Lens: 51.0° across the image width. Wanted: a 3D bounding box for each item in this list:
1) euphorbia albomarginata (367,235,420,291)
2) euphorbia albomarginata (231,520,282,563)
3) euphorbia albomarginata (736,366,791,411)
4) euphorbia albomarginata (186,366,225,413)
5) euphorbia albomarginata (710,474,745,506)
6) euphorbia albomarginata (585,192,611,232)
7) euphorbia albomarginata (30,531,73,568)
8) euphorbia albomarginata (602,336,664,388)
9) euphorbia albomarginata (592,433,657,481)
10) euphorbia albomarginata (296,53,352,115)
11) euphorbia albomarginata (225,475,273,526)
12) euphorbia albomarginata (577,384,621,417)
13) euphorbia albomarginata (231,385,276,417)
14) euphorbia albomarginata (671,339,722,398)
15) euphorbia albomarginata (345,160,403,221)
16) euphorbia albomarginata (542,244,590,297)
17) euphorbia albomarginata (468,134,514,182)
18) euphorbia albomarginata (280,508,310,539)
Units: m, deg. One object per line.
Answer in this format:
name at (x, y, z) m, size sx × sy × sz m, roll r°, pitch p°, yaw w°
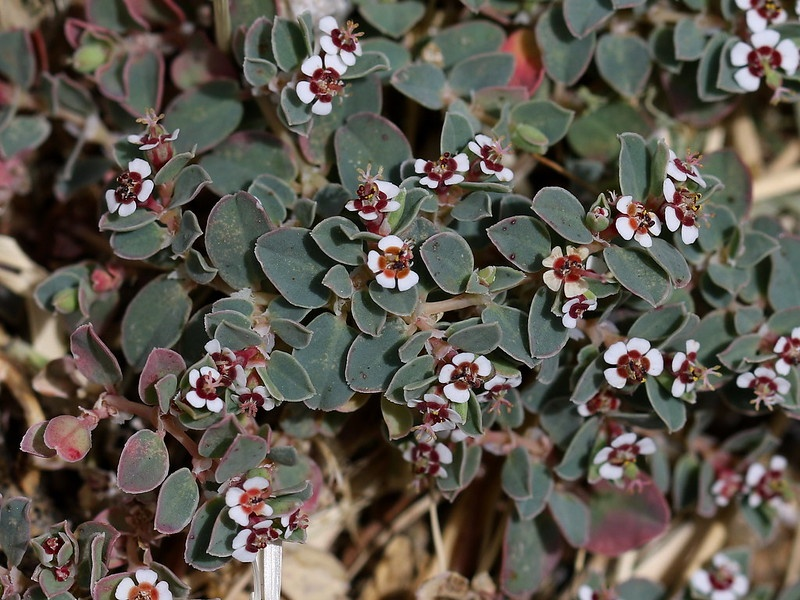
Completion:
euphorbia albomarginata at (-0.014, -0.059, 1.439) m, size 0.080 × 0.069 × 0.095 m, roll -9°, pitch 80°, yaw -2°
euphorbia albomarginata at (-0.249, 0.417, 1.453) m, size 0.069 × 0.032 × 0.082 m, roll 22°, pitch 114°, yaw -24°
euphorbia albomarginata at (0.692, 0.172, 1.599) m, size 0.085 × 0.048 × 0.092 m, roll 3°, pitch 110°, yaw 18°
euphorbia albomarginata at (-0.331, 0.152, 1.423) m, size 0.058 × 0.042 × 0.075 m, roll -2°, pitch 80°, yaw -1°
euphorbia albomarginata at (0.678, 0.391, 1.735) m, size 0.039 × 0.024 × 0.076 m, roll 16°, pitch 58°, yaw 35°
euphorbia albomarginata at (0.347, -0.147, 1.467) m, size 0.036 × 0.032 × 0.070 m, roll 5°, pitch 82°, yaw 18°
euphorbia albomarginata at (-0.624, 0.439, 1.503) m, size 0.051 × 0.044 × 0.069 m, roll -31°, pitch 61°, yaw -15°
euphorbia albomarginata at (0.424, 0.113, 1.528) m, size 0.121 × 0.066 × 0.081 m, roll -17°, pitch 81°, yaw -3°
euphorbia albomarginata at (0.429, 0.295, 1.597) m, size 0.093 × 0.038 × 0.103 m, roll -29°, pitch 102°, yaw 7°
euphorbia albomarginata at (-0.143, -0.395, 1.549) m, size 0.078 × 0.104 × 0.104 m, roll 35°, pitch 82°, yaw 6°
euphorbia albomarginata at (-0.260, 0.349, 1.435) m, size 0.076 × 0.031 × 0.087 m, roll -19°, pitch 92°, yaw -16°
euphorbia albomarginata at (0.384, 0.200, 1.606) m, size 0.057 × 0.024 × 0.061 m, roll -4°, pitch 104°, yaw 10°
euphorbia albomarginata at (-0.255, 0.174, 1.468) m, size 0.071 × 0.040 × 0.047 m, roll -12°, pitch 80°, yaw -3°
euphorbia albomarginata at (0.539, 0.118, 1.562) m, size 0.097 × 0.094 × 0.110 m, roll -6°, pitch 95°, yaw -28°
euphorbia albomarginata at (-0.046, -0.172, 1.448) m, size 0.090 × 0.095 × 0.101 m, roll 1°, pitch 76°, yaw -9°
euphorbia albomarginata at (0.288, -0.048, 1.459) m, size 0.076 × 0.020 × 0.089 m, roll 1°, pitch 81°, yaw -1°
euphorbia albomarginata at (0.174, -0.258, 1.534) m, size 0.031 × 0.082 × 0.084 m, roll -33°, pitch 82°, yaw 20°
euphorbia albomarginata at (-0.185, 0.390, 1.462) m, size 0.027 × 0.053 × 0.049 m, roll 23°, pitch 30°, yaw 27°
